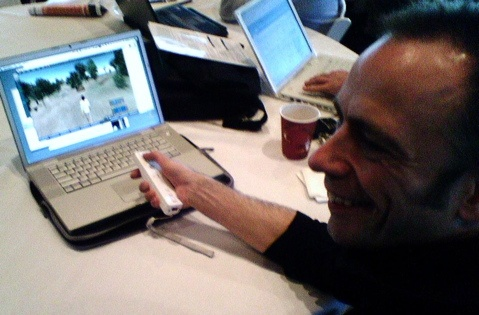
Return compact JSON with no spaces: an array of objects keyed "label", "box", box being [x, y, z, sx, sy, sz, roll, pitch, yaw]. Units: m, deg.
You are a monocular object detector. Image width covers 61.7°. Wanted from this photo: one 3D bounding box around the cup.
[{"label":"cup","box":[0.151,-0.095,1.320,0.163,0.158,0.157,0,40,0]}]
